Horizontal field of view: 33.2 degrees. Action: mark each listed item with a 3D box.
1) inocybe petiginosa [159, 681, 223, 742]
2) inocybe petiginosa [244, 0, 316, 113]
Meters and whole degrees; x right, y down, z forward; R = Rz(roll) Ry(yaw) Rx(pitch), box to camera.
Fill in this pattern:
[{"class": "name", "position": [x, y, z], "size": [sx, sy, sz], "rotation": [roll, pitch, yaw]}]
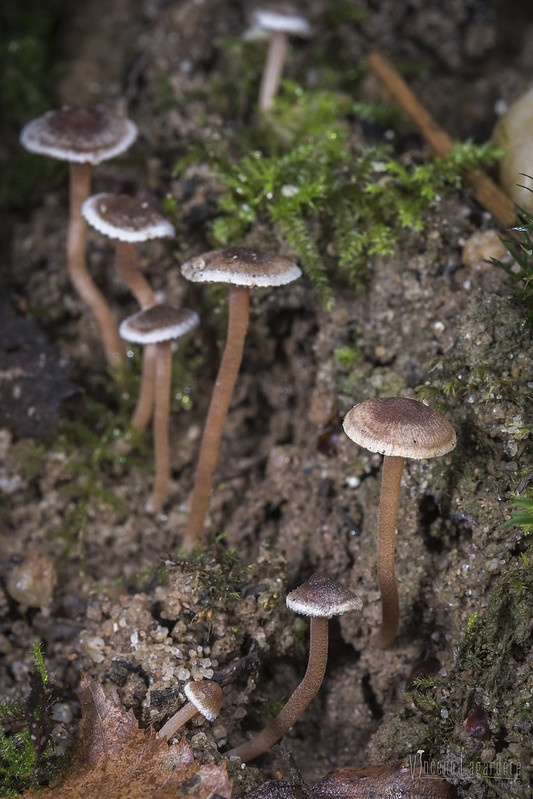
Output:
[{"class": "inocybe petiginosa", "position": [-0.287, 1.175, 3.364], "size": [0.147, 0.280, 0.139], "rotation": [32, 26, -24]}, {"class": "inocybe petiginosa", "position": [0.039, -1.755, 4.398], "size": [0.248, 0.506, 0.521], "rotation": [-7, 48, -6]}]
